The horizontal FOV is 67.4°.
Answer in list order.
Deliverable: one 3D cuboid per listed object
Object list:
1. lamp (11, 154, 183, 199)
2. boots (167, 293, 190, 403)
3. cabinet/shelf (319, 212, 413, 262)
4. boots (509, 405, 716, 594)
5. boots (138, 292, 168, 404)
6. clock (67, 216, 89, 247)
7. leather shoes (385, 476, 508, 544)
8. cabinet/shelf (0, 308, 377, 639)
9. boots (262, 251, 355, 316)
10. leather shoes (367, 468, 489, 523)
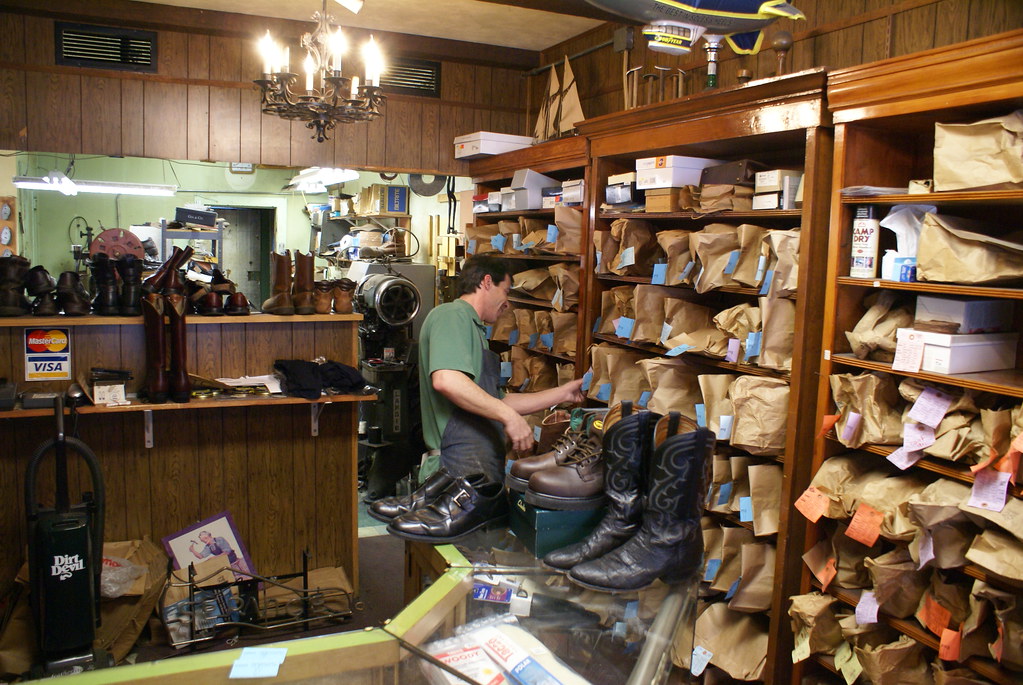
[{"bbox_3d":[-5.157,-2.013,9.351,1.808,0.598,1.229,1,5,15],"label":"lamp"},{"bbox_3d":[-1.900,0.030,4.341,0.125,0.601,0.211,-6,9,-24],"label":"boots"},{"bbox_3d":[-1.695,-1.254,8.765,1.338,0.395,0.383,9,3,5],"label":"cabinet/shelf"},{"bbox_3d":[0.254,0.524,2.785,0.713,0.628,0.438,-1,4,-18],"label":"boots"},{"bbox_3d":[-2.040,0.023,4.342,0.167,0.601,0.305,-6,9,-24],"label":"boots"},{"bbox_3d":[-5.734,-1.469,10.141,0.258,0.386,0.336,-7,9,-29],"label":"clock"},{"bbox_3d":[-0.221,0.606,2.822,0.219,0.166,0.502,8,7,43],"label":"leather shoes"},{"bbox_3d":[-1.951,0.746,4.446,2.100,1.650,0.526,0,3,-22],"label":"cabinet/shelf"},{"bbox_3d":[-1.261,-0.353,4.668,0.305,0.426,0.647,3,10,2],"label":"boots"},{"bbox_3d":[-0.299,0.553,2.882,0.351,0.110,0.254,-2,-3,-20],"label":"leather shoes"}]
